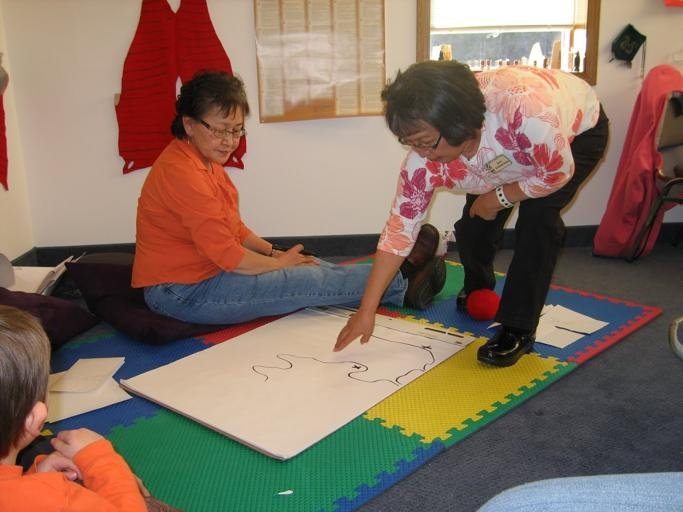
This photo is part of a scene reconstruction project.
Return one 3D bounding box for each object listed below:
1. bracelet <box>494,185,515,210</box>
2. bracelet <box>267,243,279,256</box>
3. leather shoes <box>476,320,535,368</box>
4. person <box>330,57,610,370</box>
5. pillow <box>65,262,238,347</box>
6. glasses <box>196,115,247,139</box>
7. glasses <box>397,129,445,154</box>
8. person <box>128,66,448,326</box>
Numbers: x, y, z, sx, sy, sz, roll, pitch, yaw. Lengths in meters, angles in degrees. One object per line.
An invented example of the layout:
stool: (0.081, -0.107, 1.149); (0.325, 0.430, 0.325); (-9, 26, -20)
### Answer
bracelet: (0.618, -0.202, 1.856); (0.055, 0.085, 0.082); (-33, 32, 28)
bracelet: (-0.325, -0.027, 2.345); (0.049, 0.055, 0.051); (-4, -1, -28)
leather shoes: (0.579, 0.309, 1.735); (0.096, 0.095, 0.258); (9, 16, 40)
person: (0.493, -0.155, 1.777); (0.535, 1.020, 1.005); (17, 27, 37)
pillow: (-0.891, 0.217, 2.141); (0.439, 0.150, 0.451); (30, 15, 35)
glasses: (-0.452, -0.512, 1.949); (0.120, 0.087, 0.252); (9, 23, 23)
glasses: (0.255, -0.359, 1.531); (0.134, 0.039, 0.136); (9, 51, 31)
person: (-0.025, -0.337, 2.521); (1.639, 1.238, 0.753); (1, 22, -6)
